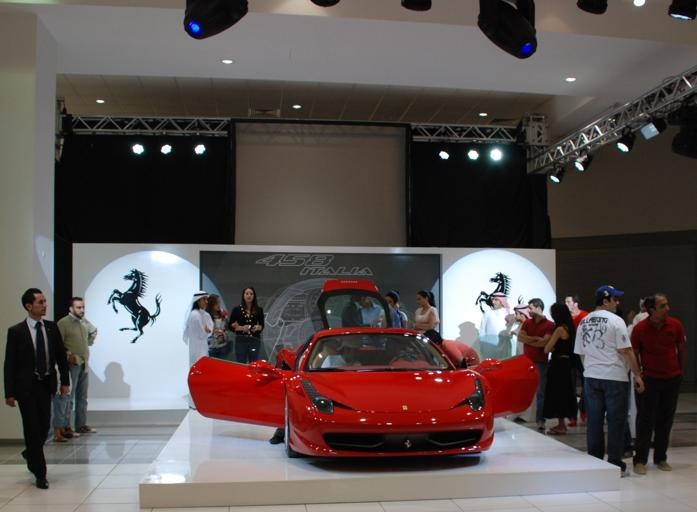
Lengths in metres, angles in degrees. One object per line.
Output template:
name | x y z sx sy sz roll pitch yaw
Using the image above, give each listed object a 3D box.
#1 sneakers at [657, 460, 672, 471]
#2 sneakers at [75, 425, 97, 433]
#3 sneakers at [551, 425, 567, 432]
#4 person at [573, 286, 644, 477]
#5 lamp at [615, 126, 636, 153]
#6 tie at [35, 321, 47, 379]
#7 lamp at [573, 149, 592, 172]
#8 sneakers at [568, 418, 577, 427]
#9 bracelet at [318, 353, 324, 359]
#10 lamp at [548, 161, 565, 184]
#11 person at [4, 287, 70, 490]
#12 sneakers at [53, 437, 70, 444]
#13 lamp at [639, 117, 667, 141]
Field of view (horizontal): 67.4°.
sneakers | 3.332 2.205 5.513 0.068 0.072 0.175 -1 -12 3
sneakers | -3.693 2.432 7.337 0.263 0.109 0.106 1 -3 -5
sneakers | 2.832 2.341 7.089 0.095 0.130 0.320 6 -20 4
person | 2.662 1.257 5.380 0.625 1.747 0.384 -1 0 29
lamp | 4.786 -1.995 9.038 0.262 0.366 0.300 -1 0 22
tie | -3.081 0.949 5.212 0.034 0.544 0.105 -2 2 28
lamp | 4.522 -1.853 10.115 0.299 0.368 0.510 -1 0 24
sneakers | 3.222 2.398 7.556 0.127 0.102 0.131 0 -5 0
bracelet | -0.283 0.989 5.200 0.041 0.043 0.010 -1 -16 -20
lamp | 4.321 -1.711 10.884 0.232 0.358 0.395 -1 0 15
person | -3.124 1.291 5.228 0.539 2.104 0.512 -1 0 -14
sneakers | -3.741 2.362 6.788 0.217 0.091 0.079 6 10 -24
lamp | 4.907 -2.068 8.428 0.322 0.298 0.282 -1 0 33
